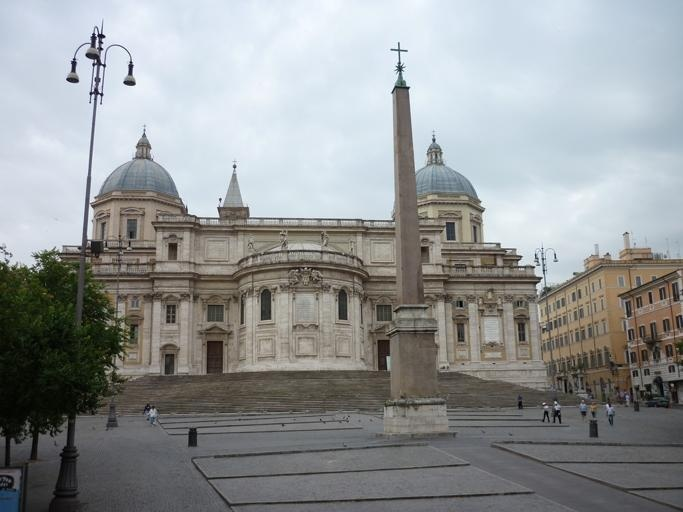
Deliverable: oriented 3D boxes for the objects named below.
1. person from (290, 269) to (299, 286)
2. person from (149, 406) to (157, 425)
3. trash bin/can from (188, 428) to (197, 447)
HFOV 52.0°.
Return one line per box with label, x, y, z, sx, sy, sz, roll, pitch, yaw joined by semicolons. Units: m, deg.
person;-4.446;1.893;66.640;1.288;1.629;0.368;-1;-13;0
person;-11.614;9.691;43.173;0.468;1.048;1.530;3;-13;-15
trash bin/can;-6.558;7.862;30.824;0.372;0.757;0.594;2;-13;-12
